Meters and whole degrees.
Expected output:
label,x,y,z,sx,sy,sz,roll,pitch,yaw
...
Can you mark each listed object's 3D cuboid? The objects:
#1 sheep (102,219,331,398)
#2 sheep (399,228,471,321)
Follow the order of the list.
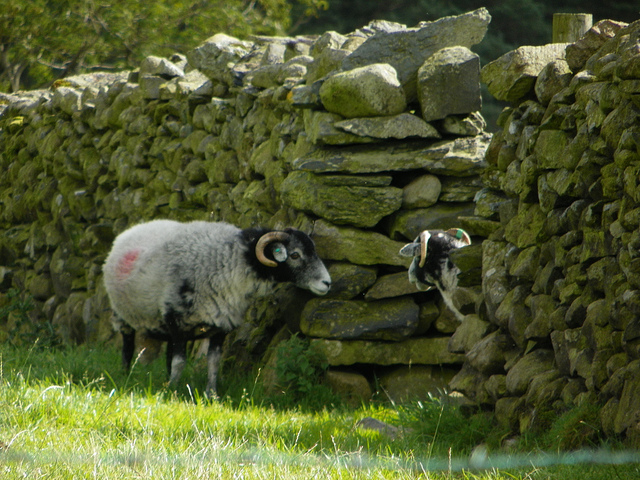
label,x,y,z,sx,sy,sz,roll,pitch,yaw
sheep,-1.651,0.987,15.456,3.200,2.680,1.559,-1,-4,22
sheep,1.350,0.254,13.839,0.577,0.797,1.216,4,4,-19
